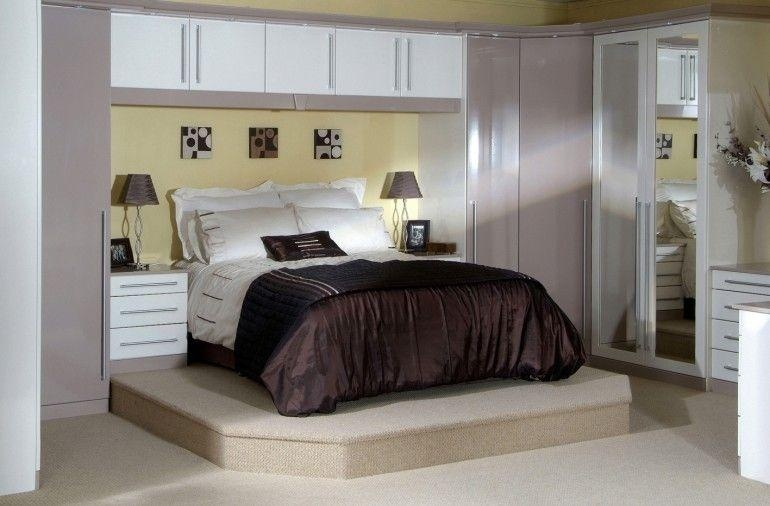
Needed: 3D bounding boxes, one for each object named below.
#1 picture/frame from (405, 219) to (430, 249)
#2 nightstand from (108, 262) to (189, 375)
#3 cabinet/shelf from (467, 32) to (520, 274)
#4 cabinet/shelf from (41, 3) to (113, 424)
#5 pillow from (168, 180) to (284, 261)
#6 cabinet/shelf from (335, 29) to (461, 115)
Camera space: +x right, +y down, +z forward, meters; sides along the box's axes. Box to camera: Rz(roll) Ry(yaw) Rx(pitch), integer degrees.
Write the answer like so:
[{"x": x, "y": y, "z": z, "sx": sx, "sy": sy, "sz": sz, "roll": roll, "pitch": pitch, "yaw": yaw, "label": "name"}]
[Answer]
[{"x": 0.353, "y": -0.190, "z": 6.164, "sx": 0.295, "sy": 0.361, "sz": 0.184, "roll": 0, "pitch": -2, "yaw": 12, "label": "picture/frame"}, {"x": -1.986, "y": 0.523, "z": 5.082, "sx": 0.843, "sy": 1.107, "sz": 0.704, "roll": -1, "pitch": -1, "yaw": -28, "label": "nightstand"}, {"x": 1.111, "y": -1.017, "z": 5.944, "sx": 0.548, "sy": 2.331, "sz": 0.205, "roll": -1, "pitch": 7, "yaw": -6, "label": "cabinet/shelf"}, {"x": -2.358, "y": -0.296, "z": 4.431, "sx": 0.583, "sy": 3.083, "sz": 0.206, "roll": -3, "pitch": 7, "yaw": -25, "label": "cabinet/shelf"}, {"x": -1.723, "y": -0.191, "z": 5.532, "sx": 0.794, "sy": 0.800, "sz": 0.214, "roll": -8, "pitch": -12, "yaw": -35, "label": "pillow"}, {"x": 0.260, "y": -1.881, "z": 5.838, "sx": 1.277, "sy": 0.814, "sz": 0.749, "roll": 0, "pitch": 0, "yaw": -11, "label": "cabinet/shelf"}]
